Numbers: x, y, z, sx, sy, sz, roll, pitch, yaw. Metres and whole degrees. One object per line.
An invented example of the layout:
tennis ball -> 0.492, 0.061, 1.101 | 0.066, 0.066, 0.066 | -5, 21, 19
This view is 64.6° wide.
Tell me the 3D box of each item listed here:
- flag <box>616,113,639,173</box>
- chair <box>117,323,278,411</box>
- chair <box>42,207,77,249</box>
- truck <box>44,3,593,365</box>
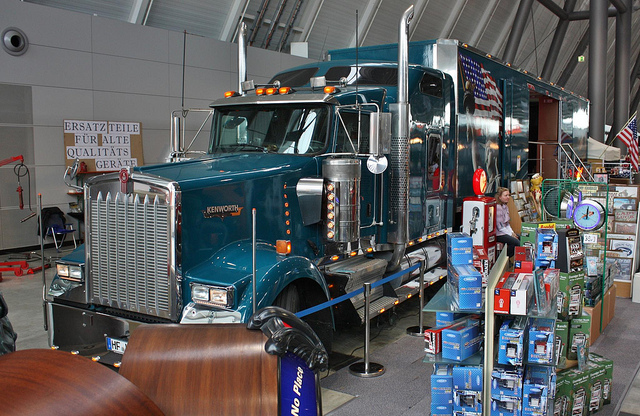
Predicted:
flag -> 9.688, -2.017, 15.996 | 0.567, 1.769, 3.923 | 5, 11, 31
chair -> -0.707, 0.985, 3.410 | 0.779, 0.615, 0.746 | 0, -13, 3
chair -> -5.822, 0.463, 11.347 | 0.631, 0.901, 0.557 | 6, 6, 28
truck -> 0.878, -0.611, 7.782 | 2.237, 4.595, 8.847 | 8, 13, 42
